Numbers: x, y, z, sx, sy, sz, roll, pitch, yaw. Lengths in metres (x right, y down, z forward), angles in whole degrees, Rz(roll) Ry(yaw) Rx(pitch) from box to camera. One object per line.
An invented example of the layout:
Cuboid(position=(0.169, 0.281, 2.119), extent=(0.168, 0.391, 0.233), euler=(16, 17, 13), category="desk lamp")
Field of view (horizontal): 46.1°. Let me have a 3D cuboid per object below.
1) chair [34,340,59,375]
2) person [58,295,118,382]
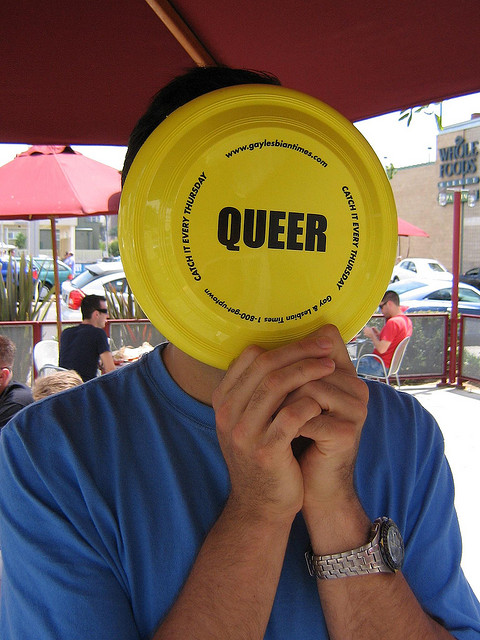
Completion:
Cuboid(position=(-2.195, 0.427, 6.349), extent=(0.279, 0.350, 0.304), euler=(23, 29, 38), category="chair")
Cuboid(position=(-1.572, 0.298, 6.008), extent=(0.654, 1.108, 0.616), euler=(0, 1, 34), category="person")
